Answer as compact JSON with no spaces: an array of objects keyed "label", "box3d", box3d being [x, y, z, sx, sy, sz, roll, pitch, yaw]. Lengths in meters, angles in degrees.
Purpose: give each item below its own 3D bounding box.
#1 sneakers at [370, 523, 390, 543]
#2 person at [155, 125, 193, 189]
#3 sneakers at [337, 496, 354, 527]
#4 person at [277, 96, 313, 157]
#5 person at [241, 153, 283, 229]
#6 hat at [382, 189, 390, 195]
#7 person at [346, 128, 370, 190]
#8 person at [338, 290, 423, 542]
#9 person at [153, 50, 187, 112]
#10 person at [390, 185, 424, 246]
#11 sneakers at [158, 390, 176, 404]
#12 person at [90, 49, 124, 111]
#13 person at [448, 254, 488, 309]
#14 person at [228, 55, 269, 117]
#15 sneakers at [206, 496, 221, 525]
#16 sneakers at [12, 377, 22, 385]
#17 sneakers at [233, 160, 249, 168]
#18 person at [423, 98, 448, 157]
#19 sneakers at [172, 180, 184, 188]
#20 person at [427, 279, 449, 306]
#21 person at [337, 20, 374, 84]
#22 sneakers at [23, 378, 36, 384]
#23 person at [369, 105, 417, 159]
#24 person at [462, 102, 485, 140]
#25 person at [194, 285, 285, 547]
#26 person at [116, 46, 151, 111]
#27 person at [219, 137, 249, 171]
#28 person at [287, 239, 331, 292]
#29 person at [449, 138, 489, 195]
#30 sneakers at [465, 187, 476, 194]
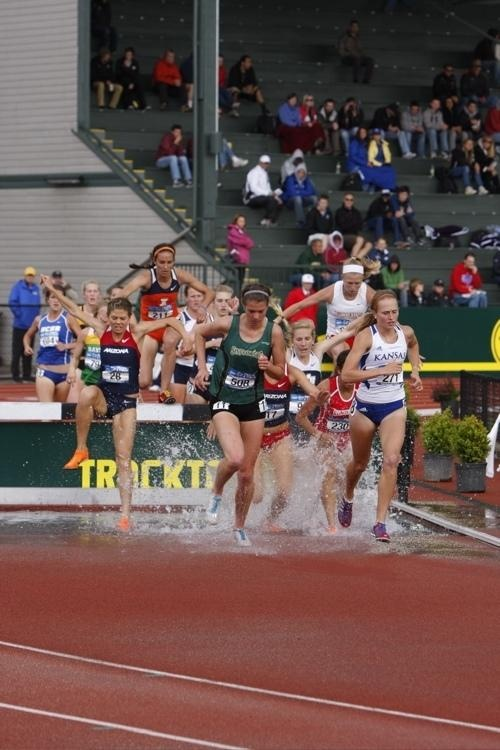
[{"label":"sneakers","box3d":[0.990,1.175,8.034,0.118,0.141,0.287,2,2,6]},{"label":"person","box3d":[-1.406,-4.069,19.892,0.648,1.150,0.407,1,3,-6]},{"label":"sneakers","box3d":[0.792,1.127,8.827,0.108,0.265,0.126,-3,2,-6]},{"label":"person","box3d":[0.937,-5.224,22.281,0.889,1.245,0.761,7,20,28]},{"label":"person","box3d":[0.259,-3.426,19.985,0.707,1.241,0.985,1,2,-2]},{"label":"hat","box3d":[2.626,-3.524,20.585,0.212,0.089,0.308,2,10,6]},{"label":"person","box3d":[2.201,-4.449,21.882,0.423,1.234,0.563,2,3,3]},{"label":"person","box3d":[0.992,0.312,8.284,0.564,1.936,1.052,2,3,6]},{"label":"person","box3d":[-1.670,-6.058,22.012,0.582,1.219,0.607,0,3,-23]},{"label":"person","box3d":[3.184,-3.166,20.768,0.479,1.313,0.750,-7,-34,-4]},{"label":"sneakers","box3d":[-0.878,0.222,11.244,0.084,0.096,0.234,0,-2,-26]},{"label":"person","box3d":[-2.781,-5.741,20.866,0.351,1.138,0.661,4,4,45]},{"label":"person","box3d":[3.949,-1.726,19.347,0.652,0.968,0.513,1,3,0]},{"label":"person","box3d":[-0.027,-6.327,23.103,0.972,1.135,1.252,2,37,-7]},{"label":"sneakers","box3d":[-0.259,1.043,8.353,0.097,0.257,0.114,10,-16,-27]},{"label":"sneakers","box3d":[-3.683,0.074,16.900,0.096,0.141,0.094,-3,3,-12]},{"label":"sneakers","box3d":[-0.207,-4.244,21.267,0.354,0.118,0.142,-3,-36,-1]},{"label":"person","box3d":[4.171,-5.471,23.861,0.446,1.311,0.695,4,4,45]},{"label":"sneakers","box3d":[-1.330,-3.549,19.773,0.189,0.147,0.103,1,3,-5]},{"label":"person","box3d":[3.420,-1.497,19.334,0.340,0.474,0.879,2,2,14]},{"label":"person","box3d":[2.537,-7.680,25.514,0.785,1.496,1.202,2,2,6]},{"label":"sneakers","box3d":[-3.505,0.079,16.939,0.245,0.094,0.079,-6,10,-21]},{"label":"person","box3d":[3.171,-5.486,23.560,1.202,1.014,0.640,10,3,-4]},{"label":"person","box3d":[5.054,-5.857,24.302,0.684,0.815,0.369,3,-6,-41]},{"label":"person","box3d":[-0.075,0.381,7.859,0.485,1.688,1.057,1,3,-15]},{"label":"person","box3d":[-2.427,-5.964,21.286,0.603,1.413,1.297,-9,47,-13]},{"label":"person","box3d":[-0.314,-4.342,21.208,0.456,0.570,1.319,2,2,8]},{"label":"person","box3d":[1.091,-1.916,18.070,0.739,0.804,0.572,-1,8,-28]},{"label":"person","box3d":[4.690,-4.432,22.852,0.789,1.213,0.636,1,3,1]},{"label":"sneakers","box3d":[4.701,-3.919,22.727,0.230,0.225,0.383,2,2,11]}]
